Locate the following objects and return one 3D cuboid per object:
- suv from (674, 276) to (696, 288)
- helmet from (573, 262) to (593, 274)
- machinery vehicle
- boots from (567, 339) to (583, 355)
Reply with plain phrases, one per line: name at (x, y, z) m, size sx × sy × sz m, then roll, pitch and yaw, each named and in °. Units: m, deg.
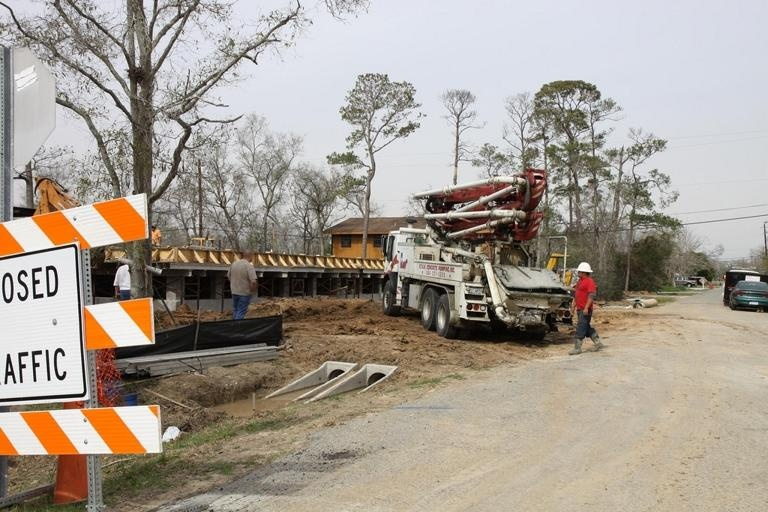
suv at (42.134, 3.778, 99.735) m, size 2.374 × 0.981 × 1.626 m, roll -2°, pitch 0°, yaw 21°
helmet at (4.658, 0.306, 16.611) m, size 0.527 × 0.225 × 0.491 m, roll 0°, pitch 4°, yaw -7°
machinery vehicle at (1.983, 0.145, 20.273) m, size 2.786 × 4.278 × 7.564 m, roll -2°, pitch -1°, yaw -22°
boots at (4.359, 2.088, 16.259) m, size 0.290 × 0.345 × 0.648 m, roll -3°, pitch -1°, yaw 18°
